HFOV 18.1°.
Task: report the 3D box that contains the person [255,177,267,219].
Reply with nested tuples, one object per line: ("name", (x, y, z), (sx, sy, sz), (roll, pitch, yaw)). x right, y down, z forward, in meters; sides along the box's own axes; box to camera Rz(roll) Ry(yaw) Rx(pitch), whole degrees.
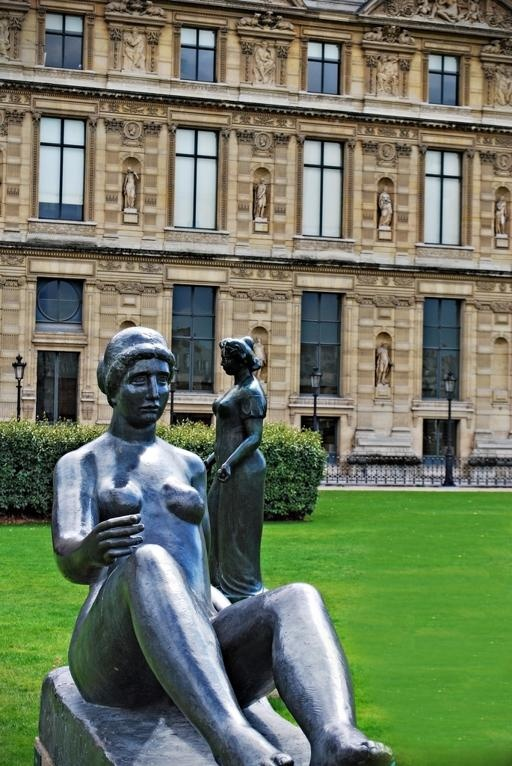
("person", (0.169, -4.380, 39.192), (0.338, 0.741, 0.287), (2, -1, -4))

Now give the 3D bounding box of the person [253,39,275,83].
("person", (0.246, -7.735, 39.173), (0.546, 0.763, 0.170), (3, -1, -25))

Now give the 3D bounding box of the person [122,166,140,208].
("person", (-2.942, -4.523, 37.979), (0.474, 0.835, 0.229), (4, -2, -45))

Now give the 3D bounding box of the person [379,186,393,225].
("person", (3.331, -4.384, 40.386), (0.420, 0.748, 0.458), (2, -1, -6))
